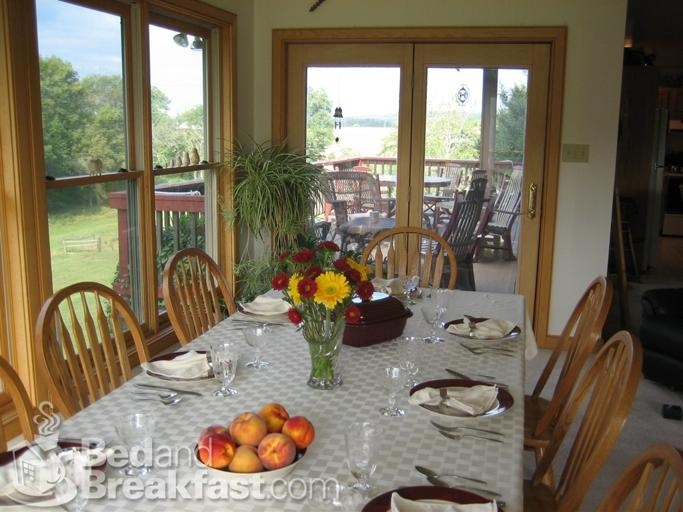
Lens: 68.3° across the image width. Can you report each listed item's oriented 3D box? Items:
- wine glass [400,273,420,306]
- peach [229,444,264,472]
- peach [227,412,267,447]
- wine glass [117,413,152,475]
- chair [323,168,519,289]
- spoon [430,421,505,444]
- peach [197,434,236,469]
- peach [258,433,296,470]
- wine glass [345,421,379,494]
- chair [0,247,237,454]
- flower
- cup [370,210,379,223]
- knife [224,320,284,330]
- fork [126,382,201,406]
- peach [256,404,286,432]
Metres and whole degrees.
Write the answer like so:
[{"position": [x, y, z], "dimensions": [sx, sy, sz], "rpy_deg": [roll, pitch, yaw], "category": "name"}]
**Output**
[{"position": [0.355, 0.172, 2.584], "dimensions": [0.113, 0.204, 0.126], "rpy_deg": [-2, 11, 3], "category": "wine glass"}, {"position": [-0.233, 0.497, 1.213], "dimensions": [0.057, 0.065, 0.060], "rpy_deg": [-7, 1, 0], "category": "peach"}, {"position": [-0.246, 0.428, 1.277], "dimensions": [0.070, 0.077, 0.073], "rpy_deg": [0, 13, -3], "category": "peach"}, {"position": [-0.534, 0.453, 1.301], "dimensions": [0.083, 0.157, 0.166], "rpy_deg": [-4, 13, -25], "category": "wine glass"}, {"position": [0.660, -0.186, 4.422], "dimensions": [1.654, 1.041, 0.785], "rpy_deg": [6, 12, 22], "category": "chair"}, {"position": [0.367, 0.516, 1.460], "dimensions": [0.208, 0.006, 0.079], "rpy_deg": [3, 11, 7], "category": "spoon"}, {"position": [-0.285, 0.480, 1.227], "dimensions": [0.045, 0.051, 0.044], "rpy_deg": [-15, 5, -17], "category": "peach"}, {"position": [-0.159, 0.483, 1.280], "dimensions": [0.077, 0.083, 0.081], "rpy_deg": [-23, -7, -1], "category": "peach"}, {"position": [0.045, 0.483, 1.186], "dimensions": [0.077, 0.148, 0.088], "rpy_deg": [-4, -1, -8], "category": "wine glass"}, {"position": [-1.005, 0.375, 2.155], "dimensions": [0.263, 0.434, 0.945], "rpy_deg": [10, 34, 22], "category": "chair"}, {"position": [-0.068, 0.247, 1.750], "dimensions": [0.307, 0.465, 0.339], "rpy_deg": [-2, -9, 9], "category": "flower"}, {"position": [0.298, -0.363, 4.669], "dimensions": [0.092, 0.118, 0.097], "rpy_deg": [-1, 7, 0], "category": "cup"}, {"position": [-0.399, 0.309, 2.232], "dimensions": [0.188, 0.023, 0.054], "rpy_deg": [1, 10, -1], "category": "knife"}, {"position": [-0.589, 0.447, 1.658], "dimensions": [0.236, 0.028, 0.083], "rpy_deg": [3, 17, 10], "category": "fork"}, {"position": [-0.199, 0.454, 1.392], "dimensions": [0.063, 0.069, 0.066], "rpy_deg": [22, 28, -3], "category": "peach"}]
